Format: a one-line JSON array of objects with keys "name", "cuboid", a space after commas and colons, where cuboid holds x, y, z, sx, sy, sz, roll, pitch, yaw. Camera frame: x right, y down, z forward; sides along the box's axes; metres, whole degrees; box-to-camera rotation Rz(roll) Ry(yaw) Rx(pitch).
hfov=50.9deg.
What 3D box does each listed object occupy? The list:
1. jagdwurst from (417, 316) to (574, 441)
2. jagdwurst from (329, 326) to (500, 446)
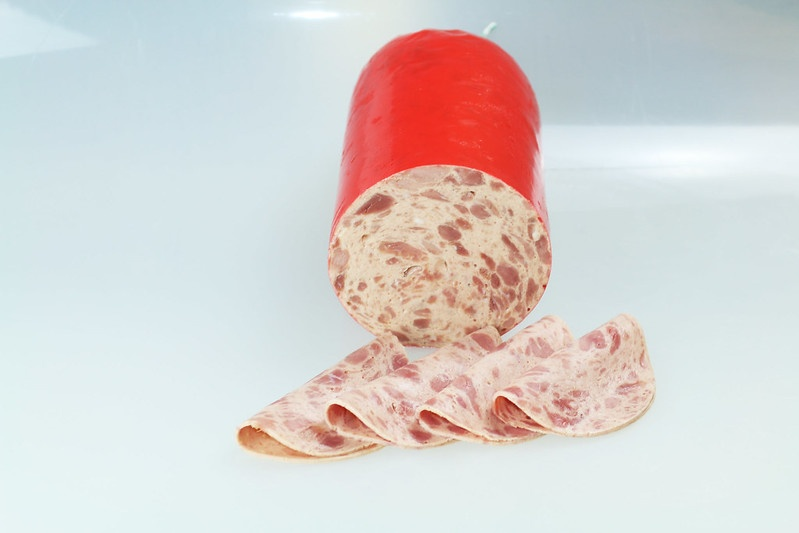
[{"name": "jagdwurst", "cuboid": [0.447, 0.443, 3.556, 0.364, 0.110, 0.650, 16, 33, 30]}, {"name": "jagdwurst", "cuboid": [0.093, 0.510, 3.564, 0.349, 0.144, 0.659, 17, 27, 29]}]
